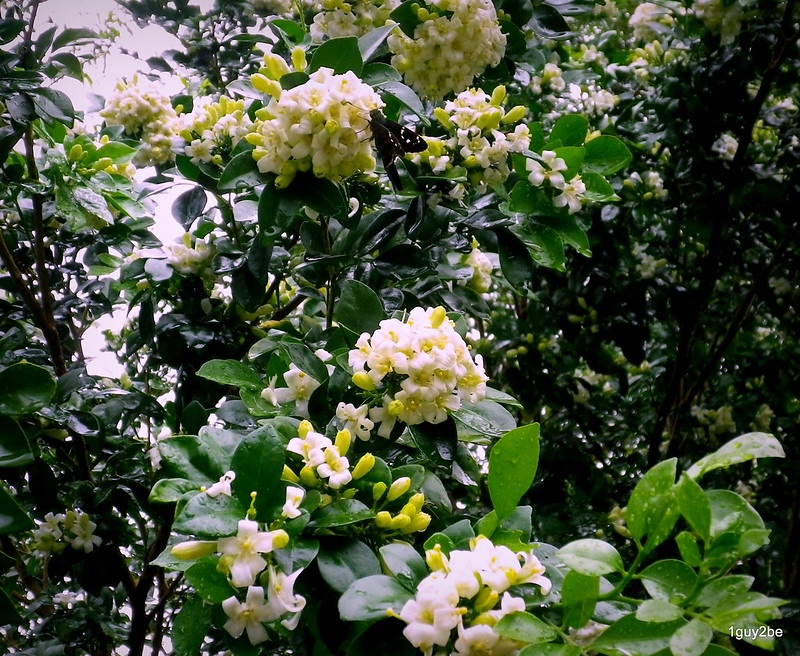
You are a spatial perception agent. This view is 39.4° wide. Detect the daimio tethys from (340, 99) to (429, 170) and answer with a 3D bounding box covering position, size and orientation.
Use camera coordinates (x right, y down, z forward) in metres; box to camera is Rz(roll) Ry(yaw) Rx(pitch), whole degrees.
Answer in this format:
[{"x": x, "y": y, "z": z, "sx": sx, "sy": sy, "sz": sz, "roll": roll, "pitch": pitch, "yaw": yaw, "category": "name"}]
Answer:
[{"x": -0.032, "y": -0.434, "z": 2.445, "sx": 0.117, "sy": 0.185, "sz": 0.147, "roll": -26, "pitch": -73, "yaw": -3, "category": "daimio tethys"}]
